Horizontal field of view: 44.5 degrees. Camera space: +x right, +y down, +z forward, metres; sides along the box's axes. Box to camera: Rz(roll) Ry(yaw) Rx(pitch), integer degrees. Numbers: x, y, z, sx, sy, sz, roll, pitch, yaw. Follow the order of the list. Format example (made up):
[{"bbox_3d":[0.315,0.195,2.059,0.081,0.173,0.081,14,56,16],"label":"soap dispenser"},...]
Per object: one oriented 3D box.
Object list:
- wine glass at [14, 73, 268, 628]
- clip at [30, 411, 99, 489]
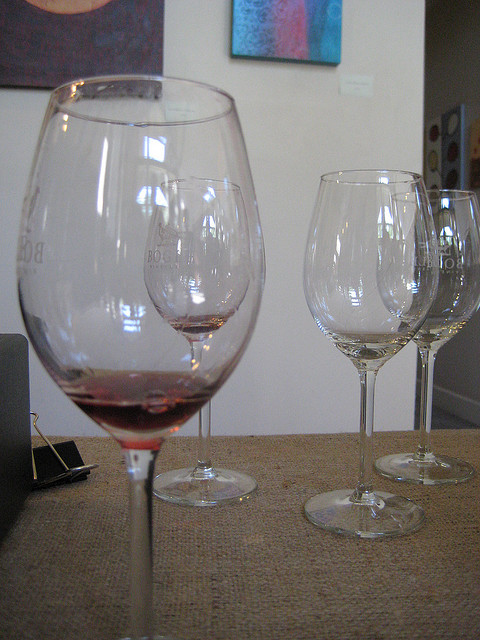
[{"bbox_3d":[-0.032,0.013,0.204,0.082,0.191,0.046,-1,2,-35],"label":"wine glass"},{"bbox_3d":[-0.132,0.107,0.444,0.045,0.018,0.072,3,26,-18],"label":"clip"}]
